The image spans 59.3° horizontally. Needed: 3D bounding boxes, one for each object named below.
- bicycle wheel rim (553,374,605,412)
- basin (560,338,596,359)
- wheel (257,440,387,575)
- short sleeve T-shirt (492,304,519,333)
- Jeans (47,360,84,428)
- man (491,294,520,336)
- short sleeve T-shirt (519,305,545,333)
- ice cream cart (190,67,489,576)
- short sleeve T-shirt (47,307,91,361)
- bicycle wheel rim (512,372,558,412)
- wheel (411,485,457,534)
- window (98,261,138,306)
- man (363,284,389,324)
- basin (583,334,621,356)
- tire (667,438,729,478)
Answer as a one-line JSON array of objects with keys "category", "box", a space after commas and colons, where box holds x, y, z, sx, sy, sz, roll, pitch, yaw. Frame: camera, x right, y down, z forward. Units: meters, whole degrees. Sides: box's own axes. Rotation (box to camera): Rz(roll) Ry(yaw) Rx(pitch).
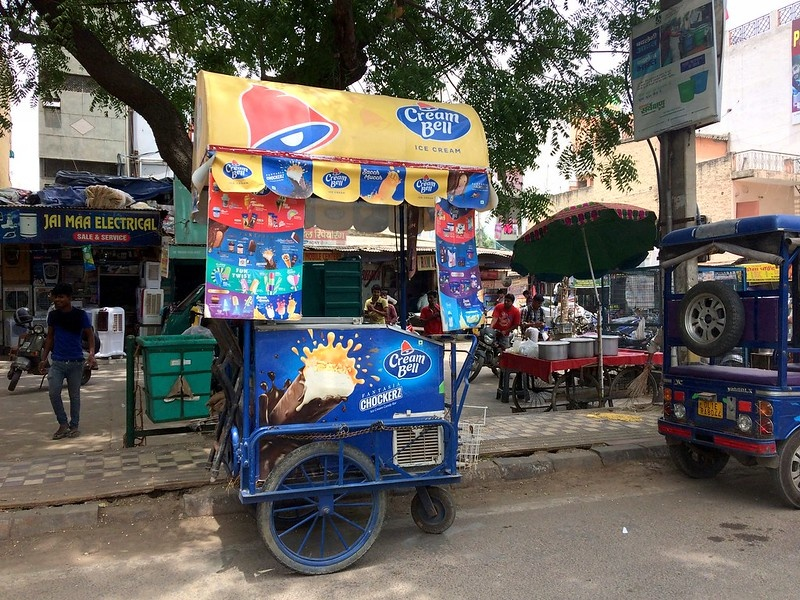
[{"category": "bicycle wheel rim", "box": [3.025, 1.570, 12.008, 0.779, 0.816, 0.587, 0, -1, 3]}, {"category": "basin", "box": [2.996, 0.772, 11.603, 0.353, 0.226, 0.374, 0, -2, 0]}, {"category": "wheel", "box": [-0.755, 1.958, 6.633, 1.040, 1.150, 0.153, 7, -5, -13]}, {"category": "short sleeve T-shirt", "box": [2.077, 0.371, 13.814, 0.482, 0.590, 0.301, 8, 5, 37]}, {"category": "Jeans", "box": [-4.719, 1.350, 9.967, 0.453, 1.204, 0.722, -7, 15, -27]}, {"category": "man", "box": [2.085, 0.326, 13.802, 0.536, 0.962, 0.527, 14, 29, 8]}, {"category": "short sleeve T-shirt", "box": [2.612, 0.387, 13.897, 0.413, 0.777, 0.408, 4, -14, -16]}, {"category": "ice cream cart", "box": [-0.519, 0.160, 7.573, 2.613, 4.720, 1.851, -1, 0, -11]}, {"category": "short sleeve T-shirt", "box": [-4.589, 0.475, 9.754, 0.512, 0.720, 0.412, -7, 15, -27]}, {"category": "bicycle wheel rim", "box": [2.404, 1.575, 12.399, 0.762, 0.857, 0.592, -11, 1, 22]}, {"category": "wheel", "box": [0.336, 2.128, 7.162, 0.465, 0.520, 0.149, -2, 9, 9]}, {"category": "window", "box": [-7.671, -0.472, 18.937, 1.112, 1.422, 0.094, 0, 6, -26]}, {"category": "man", "box": [-0.483, 0.303, 13.551, 0.467, 1.131, 0.375, 3, 16, 19]}, {"category": "basin", "box": [3.520, 0.790, 11.933, 0.390, 0.259, 0.404, 0, -3, 0]}, {"category": "tire", "box": [3.661, 1.983, 8.631, 0.561, 0.161, 0.589, -1, 0, -13]}]
